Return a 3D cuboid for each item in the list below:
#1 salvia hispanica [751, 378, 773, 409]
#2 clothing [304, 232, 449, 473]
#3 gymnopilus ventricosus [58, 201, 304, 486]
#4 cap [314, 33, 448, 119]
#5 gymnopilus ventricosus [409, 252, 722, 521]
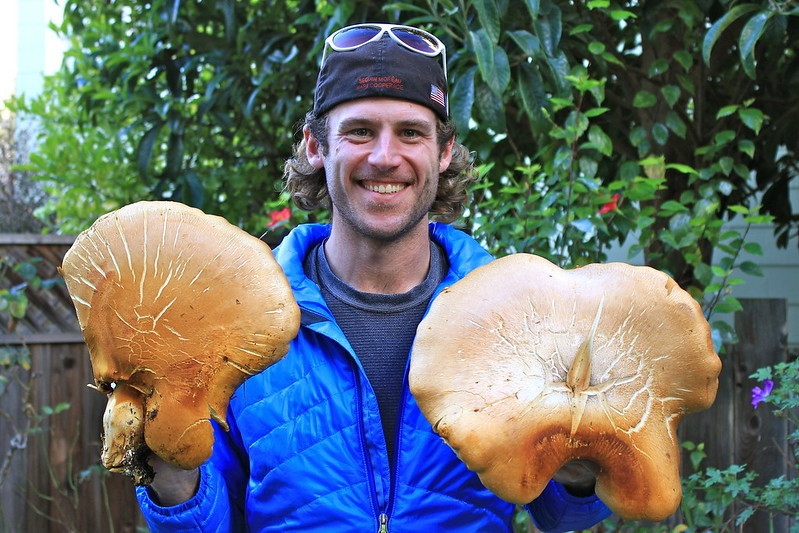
[{"bbox_3d":[2.152,0.746,8.190,0.124,0.166,0.523,-2,-5,14],"label":"salvia hispanica"},{"bbox_3d":[-0.134,0.461,8.090,0.753,1.146,0.392,1,-7,-1],"label":"clothing"},{"bbox_3d":[-1.065,0.271,7.723,1.273,1.595,1.070,3,5,39],"label":"gymnopilus ventricosus"},{"bbox_3d":[-0.113,-1.073,7.990,0.666,0.358,0.458,6,-26,-2],"label":"cap"},{"bbox_3d":[0.895,0.639,7.464,1.632,1.429,0.155,-1,-4,-3],"label":"gymnopilus ventricosus"}]
